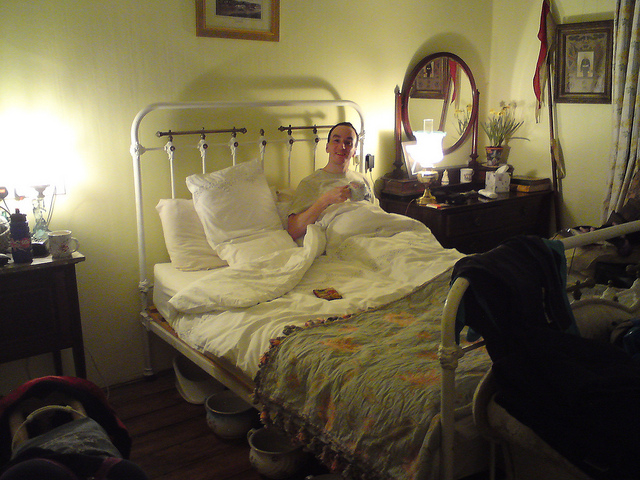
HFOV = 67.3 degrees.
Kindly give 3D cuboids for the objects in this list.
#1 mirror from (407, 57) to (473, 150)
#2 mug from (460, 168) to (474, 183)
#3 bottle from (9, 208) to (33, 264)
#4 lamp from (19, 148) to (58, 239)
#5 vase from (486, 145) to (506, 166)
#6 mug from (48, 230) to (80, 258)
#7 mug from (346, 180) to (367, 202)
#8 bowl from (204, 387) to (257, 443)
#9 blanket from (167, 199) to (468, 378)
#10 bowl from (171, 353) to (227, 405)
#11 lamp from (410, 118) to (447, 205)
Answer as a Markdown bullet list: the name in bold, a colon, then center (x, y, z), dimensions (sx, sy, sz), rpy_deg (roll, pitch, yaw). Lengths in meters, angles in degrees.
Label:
- **mirror**: center (0.949, -1.131, 3.885), dimensions (0.742, 0.842, 0.066), rpy_deg (-17, 25, -29)
- **mug**: center (1.195, -0.525, 3.983), dimensions (0.128, 0.099, 0.098), rpy_deg (-3, 9, -14)
- **bottle**: center (-1.399, -0.021, 2.242), dimensions (0.091, 0.248, 0.109), rpy_deg (-12, 15, -32)
- **lamp**: center (-1.385, -0.240, 2.434), dimensions (0.135, 0.444, 0.192), rpy_deg (-5, 13, -7)
- **vase**: center (1.477, -0.721, 4.183), dimensions (0.210, 0.202, 0.205), rpy_deg (7, 12, 36)
- **mug**: center (-1.275, 0.017, 2.393), dimensions (0.099, 0.103, 0.154), rpy_deg (-3, -2, 26)
- **mug**: center (0.229, -0.296, 2.973), dimensions (0.136, 0.115, 0.072), rpy_deg (-6, 13, -13)
- **bowl**: center (-0.456, 0.886, 2.461), dimensions (0.263, 0.160, 0.270), rpy_deg (3, 10, 0)
- **blanket**: center (-0.066, 0.201, 2.412), dimensions (1.014, 0.238, 0.985), rpy_deg (-27, 18, -25)
- **bowl**: center (-0.703, 0.802, 2.754), dimensions (0.255, 0.125, 0.333), rpy_deg (-6, 26, -41)
- **lamp**: center (0.797, -0.595, 3.593), dimensions (0.251, 0.606, 0.482), rpy_deg (0, 13, 12)
